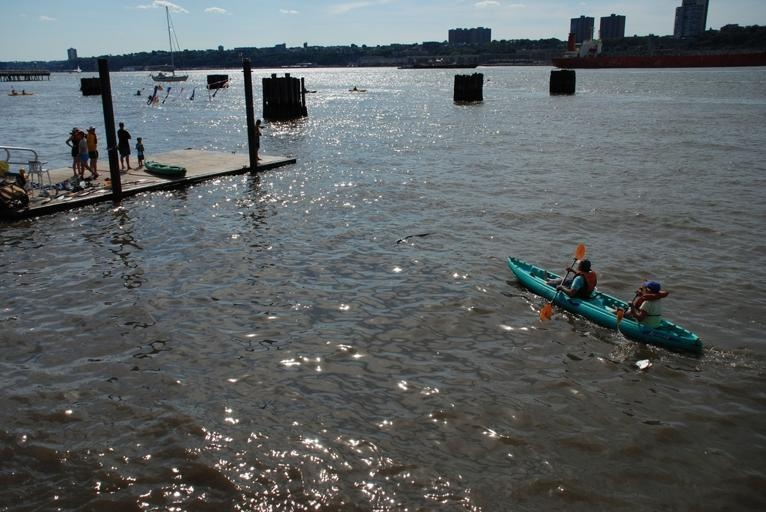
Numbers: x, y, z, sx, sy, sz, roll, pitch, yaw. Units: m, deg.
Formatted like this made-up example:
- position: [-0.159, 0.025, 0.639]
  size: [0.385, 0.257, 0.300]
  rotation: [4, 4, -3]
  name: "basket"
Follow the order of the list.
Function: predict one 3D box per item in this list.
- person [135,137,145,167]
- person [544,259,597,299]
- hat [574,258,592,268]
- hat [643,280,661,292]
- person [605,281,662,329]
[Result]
- position: [-10.151, -4.270, 26.671]
  size: [0.305, 1.225, 0.992]
  rotation: [-12, 21, -20]
  name: "person"
- position: [4.655, 0.562, 16.697]
  size: [1.005, 0.713, 1.883]
  rotation: [-17, 17, -40]
  name: "person"
- position: [5.064, 0.192, 16.250]
  size: [0.525, 0.303, 0.347]
  rotation: [4, 0, 21]
  name: "hat"
- position: [6.377, 0.684, 15.123]
  size: [0.370, 0.189, 0.319]
  rotation: [-2, 39, 7]
  name: "hat"
- position: [6.104, 1.118, 15.132]
  size: [1.092, 1.055, 0.646]
  rotation: [2, 21, 13]
  name: "person"
